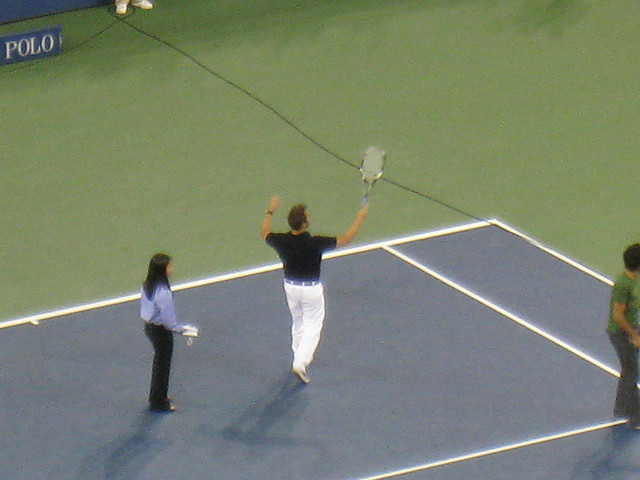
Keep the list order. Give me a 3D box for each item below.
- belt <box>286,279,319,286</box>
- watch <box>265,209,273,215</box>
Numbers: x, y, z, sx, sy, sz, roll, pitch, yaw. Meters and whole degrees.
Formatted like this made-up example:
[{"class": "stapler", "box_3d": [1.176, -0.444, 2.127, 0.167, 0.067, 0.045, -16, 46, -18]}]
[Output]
[{"class": "belt", "box_3d": [-0.234, 0.577, 16.427, 0.418, 0.062, 0.072, 1, 33, 3]}, {"class": "watch", "box_3d": [-0.680, -0.371, 16.639, 0.071, 0.078, 0.037, 13, 78, 35]}]
